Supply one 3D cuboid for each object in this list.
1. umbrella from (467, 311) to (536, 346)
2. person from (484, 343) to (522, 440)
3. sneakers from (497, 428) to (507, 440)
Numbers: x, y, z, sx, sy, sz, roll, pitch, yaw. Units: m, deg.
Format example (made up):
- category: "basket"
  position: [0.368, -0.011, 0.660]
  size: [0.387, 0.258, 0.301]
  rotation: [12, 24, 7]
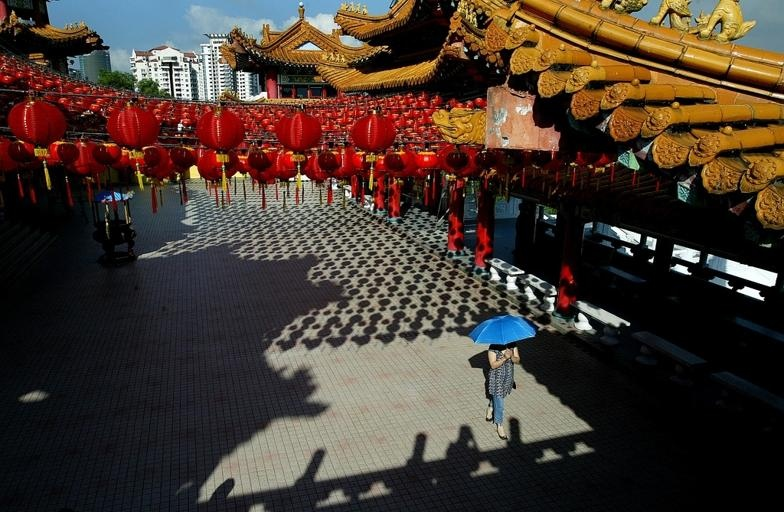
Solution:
- category: "umbrella"
  position: [1.789, 1.244, 7.972]
  size: [1.019, 0.413, 0.582]
  rotation: [3, 18, 4]
- category: "person"
  position: [1.768, 2.107, 8.089]
  size: [0.462, 1.527, 0.861]
  rotation: [7, 19, 14]
- category: "sneakers"
  position: [1.796, 2.888, 7.956]
  size: [0.081, 0.105, 0.261]
  rotation: [-2, 13, -10]
